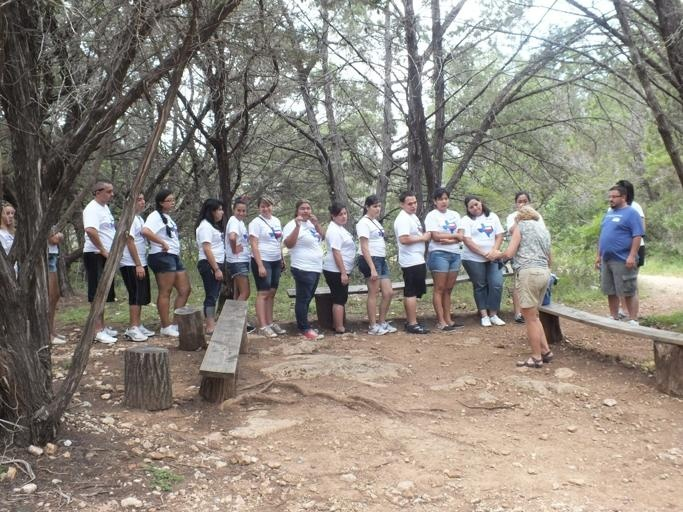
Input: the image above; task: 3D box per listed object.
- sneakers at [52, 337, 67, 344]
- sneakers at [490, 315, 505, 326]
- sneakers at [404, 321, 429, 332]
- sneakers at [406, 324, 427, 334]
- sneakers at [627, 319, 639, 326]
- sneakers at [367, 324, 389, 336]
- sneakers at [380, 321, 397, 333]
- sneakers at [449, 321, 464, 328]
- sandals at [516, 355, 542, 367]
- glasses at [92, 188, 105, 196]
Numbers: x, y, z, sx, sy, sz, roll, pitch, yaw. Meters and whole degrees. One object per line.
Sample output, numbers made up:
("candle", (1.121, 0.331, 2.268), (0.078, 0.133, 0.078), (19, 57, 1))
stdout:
("sneakers", (-4.073, 1.204, 8.684), (0.175, 0.097, 0.274), (-4, 12, -26))
("sneakers", (2.579, 1.070, 9.916), (0.111, 0.116, 0.286), (-5, 1, -18))
("sneakers", (1.210, 1.144, 9.651), (0.300, 0.138, 0.159), (0, 2, 10))
("sneakers", (1.208, 1.172, 9.616), (0.305, 0.135, 0.140), (-1, 1, 6))
("sneakers", (4.122, 0.947, 8.507), (0.124, 0.125, 0.128), (-7, 11, -44))
("sneakers", (0.585, 1.189, 9.641), (0.279, 0.135, 0.139), (0, 0, 1))
("sneakers", (0.757, 1.166, 9.778), (0.300, 0.139, 0.131), (3, 2, -12))
("sneakers", (1.852, 1.134, 9.834), (0.276, 0.105, 0.100), (-2, 3, -35))
("sandals", (2.462, 1.395, 7.833), (0.279, 0.121, 0.146), (3, 0, 16))
("glasses", (-3.348, -0.893, 8.363), (0.104, 0.103, 0.076), (6, -6, -44))
